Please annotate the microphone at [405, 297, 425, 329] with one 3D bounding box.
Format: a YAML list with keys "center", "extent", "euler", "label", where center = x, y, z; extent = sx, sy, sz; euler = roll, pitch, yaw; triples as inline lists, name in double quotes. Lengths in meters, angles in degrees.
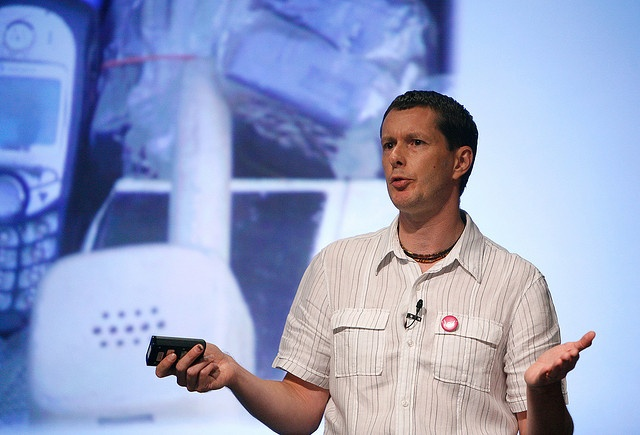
- center: [0.405, 0.413, 3.920]
  extent: [0.058, 0.126, 0.037]
  euler: [14, -21, 19]
  label: "microphone"
